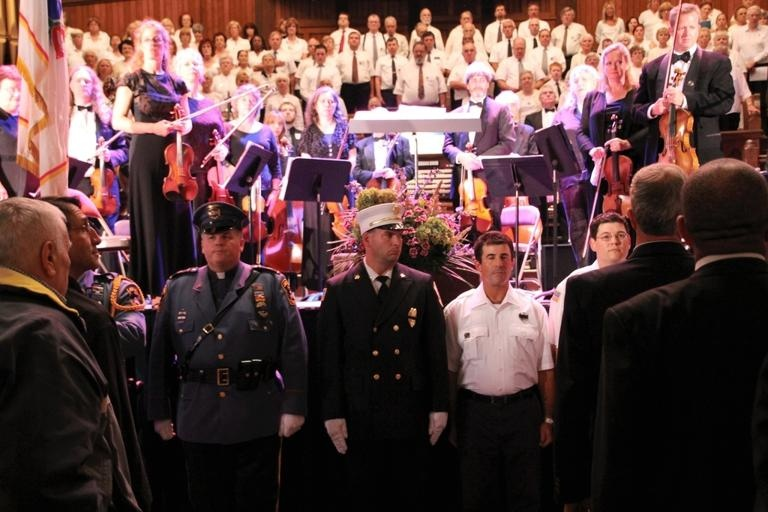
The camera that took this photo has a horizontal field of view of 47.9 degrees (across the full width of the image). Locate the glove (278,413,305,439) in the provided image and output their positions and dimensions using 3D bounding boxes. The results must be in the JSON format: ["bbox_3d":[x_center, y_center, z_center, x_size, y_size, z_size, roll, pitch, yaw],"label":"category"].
[{"bbox_3d":[-0.551,0.972,4.981,0.163,0.145,0.089,-1,6,13],"label":"glove"}]

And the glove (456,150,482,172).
[{"bbox_3d":[0.785,-0.884,8.059,0.213,0.077,0.160,25,2,25],"label":"glove"}]

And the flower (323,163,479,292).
[{"bbox_3d":[0.141,-0.115,5.903,0.927,0.709,0.900,-3,-3,16],"label":"flower"}]

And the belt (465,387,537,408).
[{"bbox_3d":[0.699,0.831,5.157,0.475,0.078,0.140,-2,5,-1],"label":"belt"}]

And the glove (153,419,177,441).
[{"bbox_3d":[-1.275,1.017,5.095,0.131,0.179,0.171,-1,-13,-13],"label":"glove"}]

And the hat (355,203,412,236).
[{"bbox_3d":[-0.030,-0.222,5.228,0.287,0.188,0.168,-2,6,1],"label":"hat"}]

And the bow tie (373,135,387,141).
[{"bbox_3d":[-0.052,-1.201,8.780,0.077,0.055,0.077,-1,1,17],"label":"bow tie"}]

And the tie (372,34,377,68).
[{"bbox_3d":[-0.148,-3.126,13.071,0.083,0.447,0.245,-2,6,2],"label":"tie"}]

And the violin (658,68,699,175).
[{"bbox_3d":[2.347,-0.933,6.899,0.282,0.548,0.272,-1,6,18],"label":"violin"}]

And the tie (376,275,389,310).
[{"bbox_3d":[-0.019,0.198,5.087,0.101,0.152,0.036,2,-16,3],"label":"tie"}]

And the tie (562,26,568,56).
[{"bbox_3d":[2.767,-3.292,13.298,0.079,0.424,0.205,-1,6,14],"label":"tie"}]

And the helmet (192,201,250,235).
[{"bbox_3d":[-0.992,-0.234,5.205,0.310,0.178,0.224,-4,6,-13],"label":"helmet"}]

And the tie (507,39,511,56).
[{"bbox_3d":[1.862,-3.091,12.863,0.070,0.250,0.221,-2,6,8],"label":"tie"}]

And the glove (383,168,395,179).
[{"bbox_3d":[0.043,-0.793,8.364,0.092,0.120,0.042,-1,-5,0],"label":"glove"}]

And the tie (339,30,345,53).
[{"bbox_3d":[-0.675,-3.336,13.507,0.117,0.302,0.207,-1,6,12],"label":"tie"}]

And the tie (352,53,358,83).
[{"bbox_3d":[-0.435,-2.795,12.886,0.095,0.428,0.089,-2,6,2],"label":"tie"}]

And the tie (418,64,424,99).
[{"bbox_3d":[0.521,-2.471,12.242,0.090,0.521,0.109,-2,6,3],"label":"tie"}]

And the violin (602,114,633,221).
[{"bbox_3d":[1.911,-0.617,7.092,0.243,0.521,0.458,-1,6,17],"label":"violin"}]

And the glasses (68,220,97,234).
[{"bbox_3d":[-1.669,-0.164,4.774,0.064,0.080,0.218,-1,5,14],"label":"glasses"}]

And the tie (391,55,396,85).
[{"bbox_3d":[0.147,-2.712,12.774,0.075,0.377,0.167,-2,6,1],"label":"tie"}]

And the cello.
[{"bbox_3d":[-0.454,-0.438,7.355,0.829,1.466,0.452,1,2,-2],"label":"cello"}]

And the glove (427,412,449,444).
[{"bbox_3d":[0.312,1.005,5.108,0.091,0.078,0.282,20,-22,18],"label":"glove"}]
